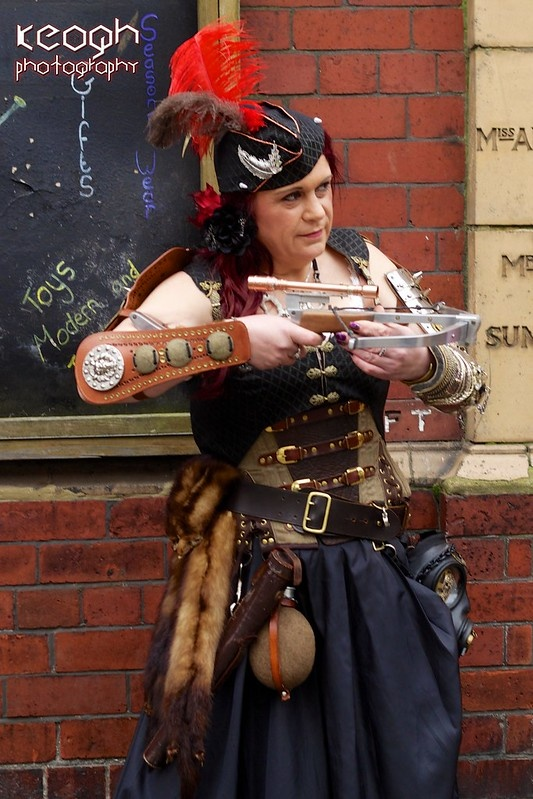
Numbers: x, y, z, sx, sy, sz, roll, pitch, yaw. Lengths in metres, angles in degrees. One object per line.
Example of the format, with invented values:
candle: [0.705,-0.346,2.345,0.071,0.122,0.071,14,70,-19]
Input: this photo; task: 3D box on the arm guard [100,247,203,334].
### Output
arm guard: [-0.253,-0.208,1.634,0.192,0.044,0.141,-39,23,-16]

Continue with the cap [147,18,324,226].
cap: [-0.076,-0.469,1.606,0.316,0.140,0.261,14,33,-12]

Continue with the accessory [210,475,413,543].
accessory: [0.116,0.217,1.752,0.308,0.070,0.298,8,-3,7]

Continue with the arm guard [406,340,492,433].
arm guard: [0.370,-0.018,1.708,0.168,0.150,0.115,-3,31,50]

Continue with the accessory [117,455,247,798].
accessory: [-0.122,0.392,1.680,0.197,0.636,0.197,20,-27,-25]

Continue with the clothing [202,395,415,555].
clothing: [0.135,0.131,1.712,0.373,0.268,0.208,-9,0,32]

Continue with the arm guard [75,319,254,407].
arm guard: [-0.218,-0.070,1.490,0.353,0.116,0.081,-4,-11,-1]
